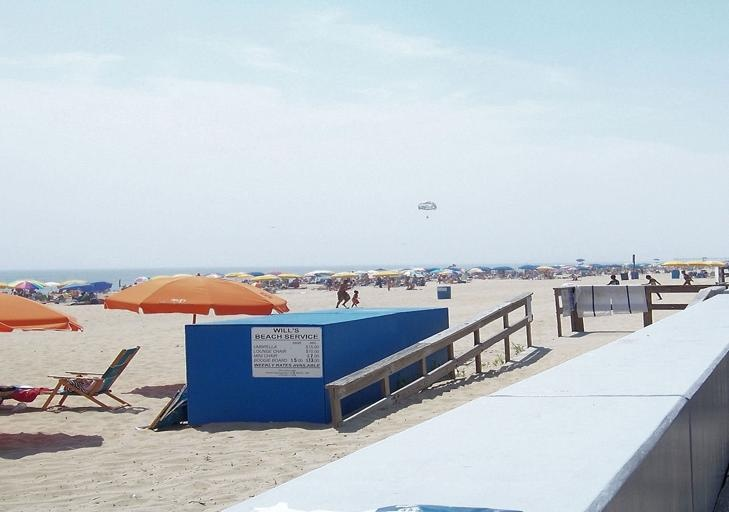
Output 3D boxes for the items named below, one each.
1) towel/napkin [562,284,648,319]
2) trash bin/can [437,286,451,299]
[{"bbox_3d":[4.075,0.737,14.153,1.406,0.548,0.569,-3,-1,16],"label":"towel/napkin"},{"bbox_3d":[3.477,1.546,36.236,0.586,0.507,0.559,-1,-6,-16],"label":"trash bin/can"}]
